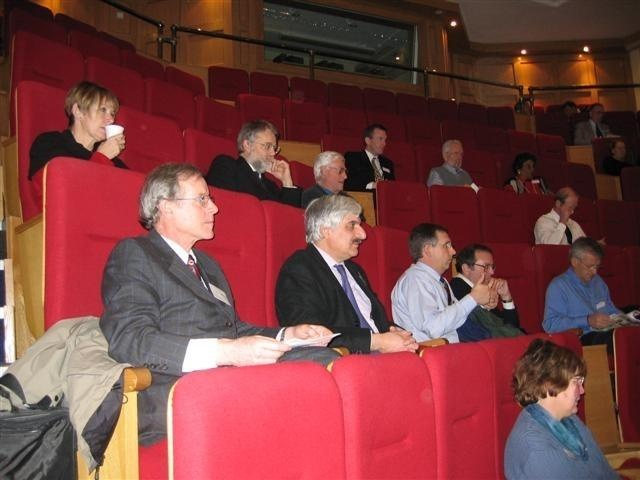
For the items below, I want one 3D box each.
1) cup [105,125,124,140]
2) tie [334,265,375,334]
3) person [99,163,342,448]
[{"bbox_3d":[-0.909,-0.465,2.549,0.065,0.052,0.064,-5,-4,0],"label":"cup"},{"bbox_3d":[0.116,0.205,2.462,0.070,0.460,0.041,-8,-49,-20],"label":"tie"},{"bbox_3d":[-0.330,0.256,2.263,0.811,1.258,0.705,-7,-14,6],"label":"person"}]
